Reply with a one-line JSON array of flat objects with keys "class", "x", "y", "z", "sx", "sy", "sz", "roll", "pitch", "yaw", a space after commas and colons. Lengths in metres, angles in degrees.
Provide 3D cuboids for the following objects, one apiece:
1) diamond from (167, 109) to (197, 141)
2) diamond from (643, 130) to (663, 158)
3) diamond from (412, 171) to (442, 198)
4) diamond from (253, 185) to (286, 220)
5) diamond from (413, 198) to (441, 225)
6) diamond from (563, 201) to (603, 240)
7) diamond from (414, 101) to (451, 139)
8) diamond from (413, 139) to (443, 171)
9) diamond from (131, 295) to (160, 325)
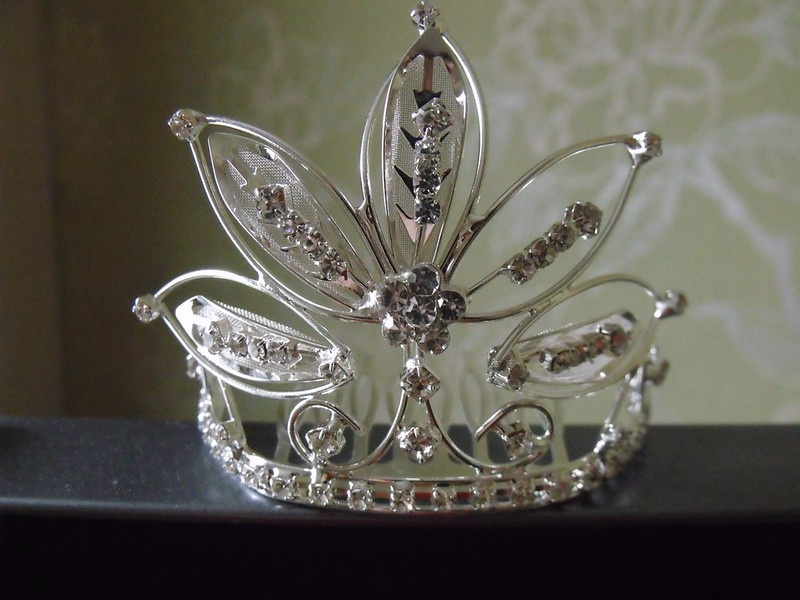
[{"class": "diamond", "x": -0.338, "y": -0.275, "z": 1.579, "sx": 0.045, "sy": 0.048, "sz": 0.018, "roll": 1, "pitch": 22, "yaw": -7}, {"class": "diamond", "x": 0.413, "y": -0.251, "z": 1.629, "sx": 0.035, "sy": 0.041, "sz": 0.026, "roll": -1, "pitch": 22, "yaw": -11}, {"class": "diamond", "x": 0.049, "y": -0.184, "z": 1.593, "sx": 0.051, "sy": 0.042, "sz": 0.018, "roll": -4, "pitch": 23, "yaw": -20}, {"class": "diamond", "x": -0.201, "y": -0.151, "z": 1.574, "sx": 0.045, "sy": 0.051, "sz": 0.020, "roll": -5, "pitch": 5, "yaw": -9}, {"class": "diamond", "x": 0.046, "y": -0.140, "z": 1.594, "sx": 0.034, "sy": 0.040, "sz": 0.015, "roll": 2, "pitch": 6, "yaw": -4}, {"class": "diamond", "x": 0.296, "y": -0.127, "z": 1.607, "sx": 0.055, "sy": 0.054, "sz": 0.023, "roll": -41, "pitch": 8, "yaw": 2}, {"class": "diamond", "x": 0.054, "y": -0.286, "z": 1.580, "sx": 0.063, "sy": 0.056, "sz": 0.025, "roll": 1, "pitch": 22, "yaw": -8}, {"class": "diamond", "x": 0.045, "y": -0.231, "z": 1.584, "sx": 0.039, "sy": 0.046, "sz": 0.020, "roll": 4, "pitch": 22, "yaw": 0}, {"class": "diamond", "x": -0.422, "y": 0.015, "z": 1.687, "sx": 0.054, "sy": 0.040, "sz": 0.017, "roll": -30, "pitch": 4, "yaw": -14}]
